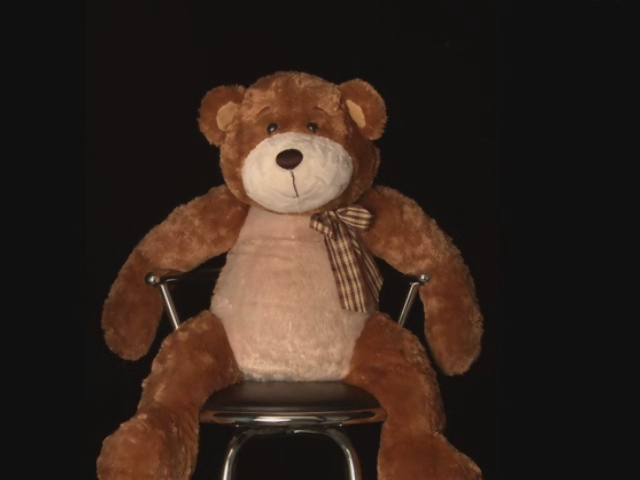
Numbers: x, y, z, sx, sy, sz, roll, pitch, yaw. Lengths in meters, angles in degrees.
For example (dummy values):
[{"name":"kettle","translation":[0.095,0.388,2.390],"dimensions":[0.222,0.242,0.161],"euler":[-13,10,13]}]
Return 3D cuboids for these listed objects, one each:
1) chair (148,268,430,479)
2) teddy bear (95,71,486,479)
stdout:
[{"name":"chair","translation":[-0.086,0.401,2.528],"dimensions":[0.661,0.726,0.550],"euler":[0,-16,-4]},{"name":"teddy bear","translation":[-0.082,0.212,2.617],"dimensions":[1.184,0.948,1.006],"euler":[1,34,0]}]
